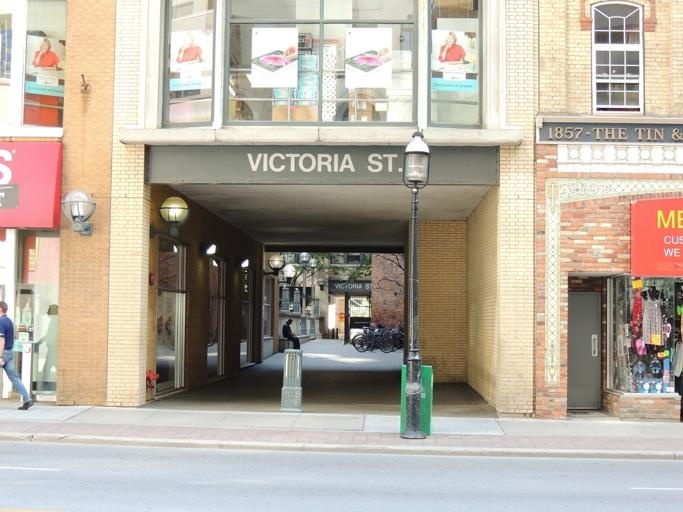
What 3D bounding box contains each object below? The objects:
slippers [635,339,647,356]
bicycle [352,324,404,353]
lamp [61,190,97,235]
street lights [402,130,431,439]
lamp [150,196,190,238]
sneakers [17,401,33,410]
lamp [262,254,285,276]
[{"bbox_3d":[6.859,2.086,20.109,0.303,0.328,0.109,-10,-14,23],"label":"slippers"},{"bbox_3d":[1.856,3.863,41.282,2.521,1.526,1.279,0,-2,2],"label":"bicycle"},{"bbox_3d":[-5.993,-1.002,20.265,0.726,1.075,0.739,-5,-14,12],"label":"lamp"},{"bbox_3d":[1.520,0.539,17.748,0.532,6.240,0.680,0,-5,4],"label":"street lights"},{"bbox_3d":[-4.111,-0.996,21.639,0.875,1.038,0.818,2,2,-21],"label":"lamp"},{"bbox_3d":[-7.026,3.344,19.590,0.358,0.156,0.132,-10,0,27],"label":"sneakers"},{"bbox_3d":[-2.463,0.345,32.806,0.715,0.855,0.971,1,-5,-5],"label":"lamp"}]
